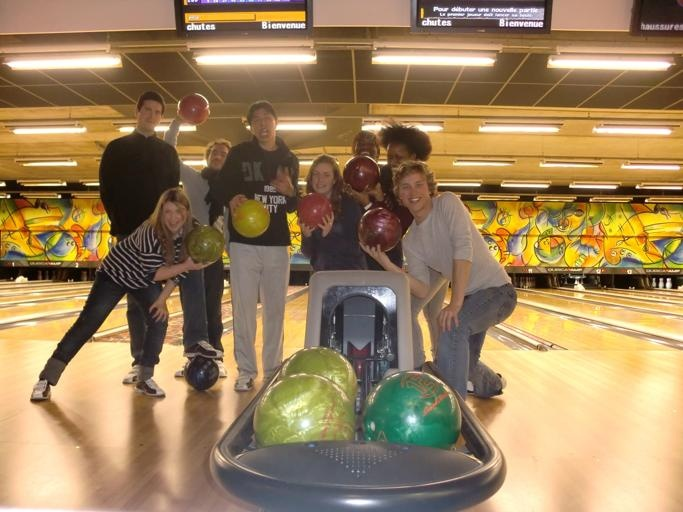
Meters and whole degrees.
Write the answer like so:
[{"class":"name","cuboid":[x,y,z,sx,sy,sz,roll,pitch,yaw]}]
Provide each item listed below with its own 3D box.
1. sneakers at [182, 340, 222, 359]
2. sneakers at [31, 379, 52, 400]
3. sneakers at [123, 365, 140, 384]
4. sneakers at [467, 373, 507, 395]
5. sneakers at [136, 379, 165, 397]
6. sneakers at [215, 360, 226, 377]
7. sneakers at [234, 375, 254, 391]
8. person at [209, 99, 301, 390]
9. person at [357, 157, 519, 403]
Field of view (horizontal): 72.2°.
[{"class":"sneakers","cuboid":[-0.821,0.522,2.673,0.238,0.110,0.095,4,-4,9]},{"class":"sneakers","cuboid":[-1.502,0.672,2.331,0.058,0.050,0.121,4,-8,-22]},{"class":"sneakers","cuboid":[-1.201,0.692,2.742,0.082,0.102,0.234,0,-11,-1]},{"class":"sneakers","cuboid":[0.756,0.690,2.617,0.296,0.125,0.112,-10,-7,41]},{"class":"sneakers","cuboid":[-0.999,0.676,2.475,0.168,0.078,0.070,11,2,18]},{"class":"sneakers","cuboid":[-0.745,0.681,2.878,0.075,0.038,0.130,19,36,-33]},{"class":"sneakers","cuboid":[-0.530,0.694,2.570,0.116,0.069,0.099,1,3,-25]},{"class":"person","cuboid":[-0.479,-0.068,2.644,0.446,1.586,0.301,1,3,-7]},{"class":"person","cuboid":[0.497,0.152,2.272,0.533,1.206,0.780,4,3,41]}]
